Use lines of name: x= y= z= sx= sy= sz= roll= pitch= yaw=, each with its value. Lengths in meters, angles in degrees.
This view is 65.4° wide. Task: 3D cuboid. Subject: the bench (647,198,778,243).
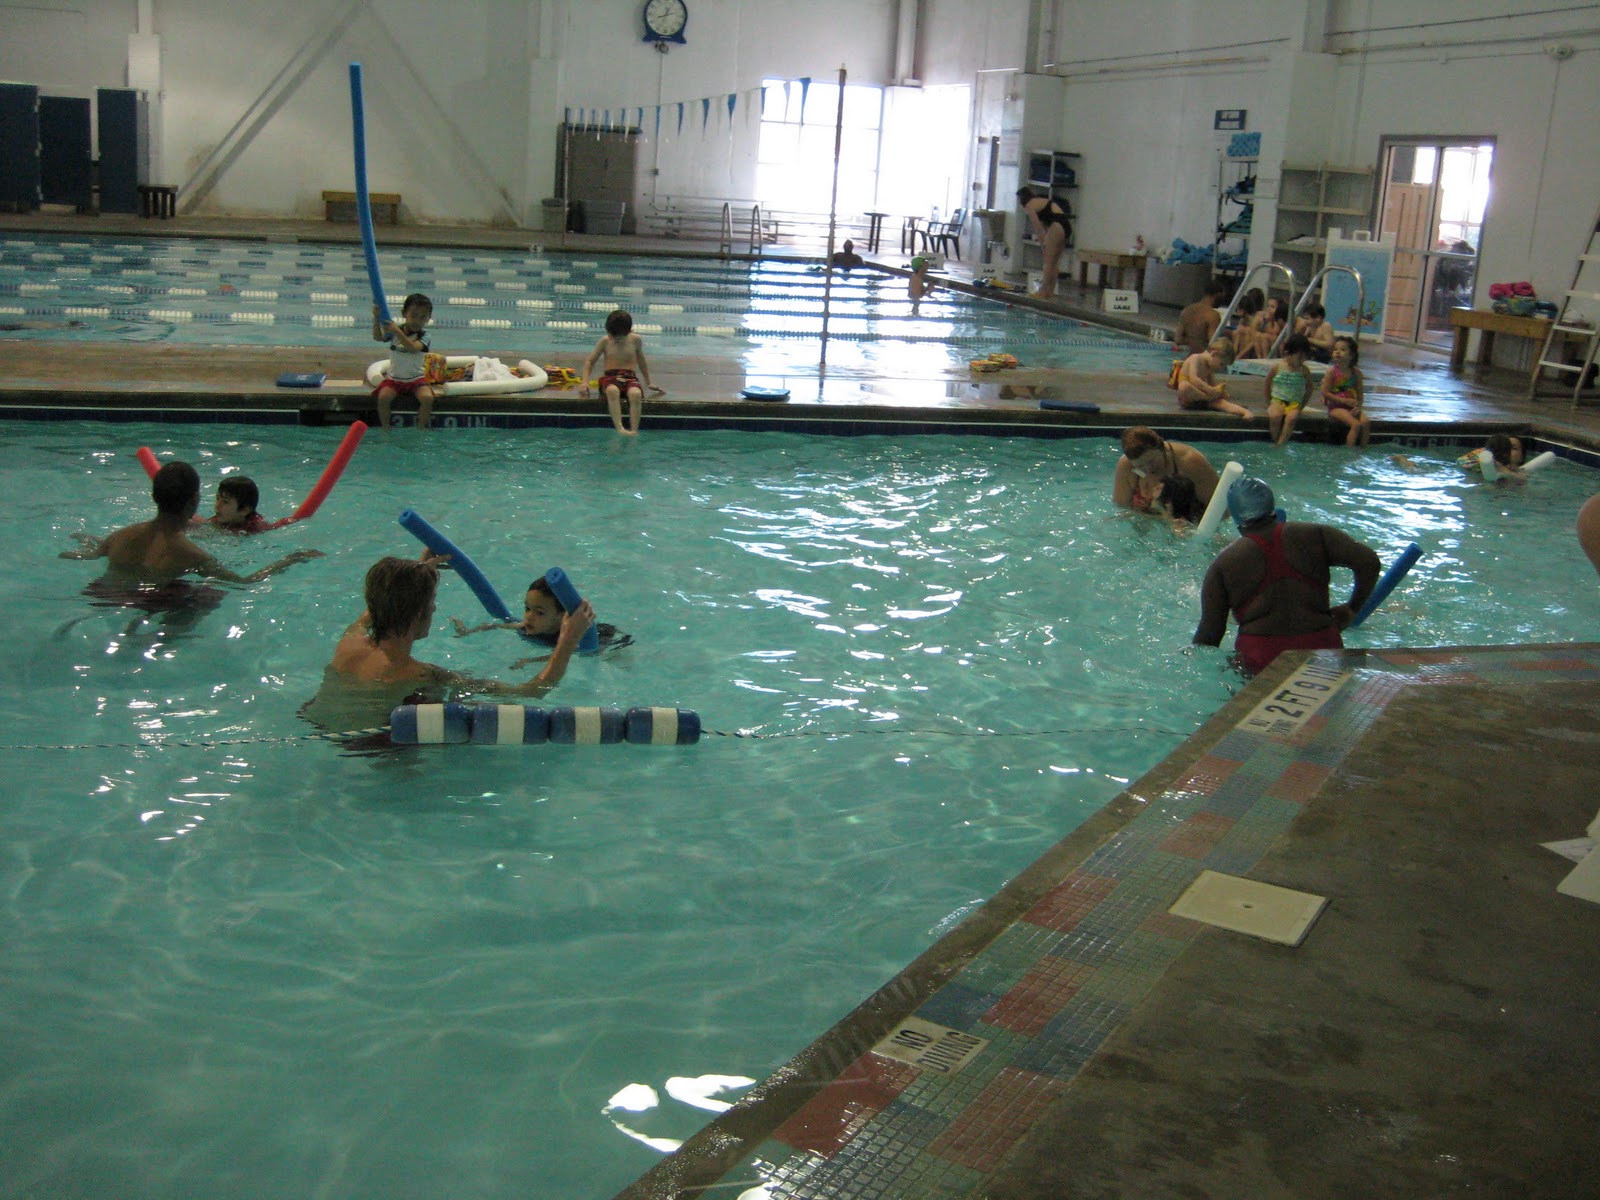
bench: x=-1.576 y=-7.876 z=25.884 sx=3.060 sy=0.909 sz=1.433 roll=-8 pitch=17 yaw=-31

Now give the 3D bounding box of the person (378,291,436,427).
person: x=-2.967 y=-1.785 z=9.296 sx=0.446 sy=0.969 sz=0.746 roll=-5 pitch=17 yaw=-17

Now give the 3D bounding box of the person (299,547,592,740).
person: x=-1.529 y=0.262 z=5.092 sx=1.191 sy=0.797 sz=0.665 roll=18 pitch=21 yaw=23

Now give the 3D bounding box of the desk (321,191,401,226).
desk: x=-8.320 y=-7.467 z=23.780 sx=1.479 sy=0.692 sz=1.092 roll=-4 pitch=16 yaw=-18

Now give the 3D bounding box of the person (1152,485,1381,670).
person: x=2.180 y=-0.078 z=5.561 sx=0.774 sy=0.899 sz=0.444 roll=1 pitch=17 yaw=4

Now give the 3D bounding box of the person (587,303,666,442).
person: x=-1.397 y=-1.806 z=9.885 sx=0.543 sy=0.923 sz=0.870 roll=-2 pitch=16 yaw=-6

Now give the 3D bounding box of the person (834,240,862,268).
person: x=0.919 y=-6.784 z=24.582 sx=0.496 sy=0.522 sz=1.079 roll=2 pitch=14 yaw=5

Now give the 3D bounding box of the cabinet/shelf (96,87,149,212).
cabinet/shelf: x=-11.534 y=-7.669 z=21.275 sx=0.937 sy=1.976 sz=1.451 roll=-8 pitch=18 yaw=-25

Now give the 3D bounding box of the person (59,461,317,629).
person: x=-3.033 y=-0.281 z=6.005 sx=1.425 sy=0.557 sz=0.670 roll=7 pitch=22 yaw=5

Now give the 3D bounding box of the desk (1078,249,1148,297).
desk: x=5.338 y=-5.748 z=21.714 sx=0.709 sy=0.664 sz=2.539 roll=-1 pitch=14 yaw=-5

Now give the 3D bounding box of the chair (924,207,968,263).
chair: x=3.050 y=-7.699 z=26.290 sx=0.740 sy=1.018 sz=0.819 roll=2 pitch=16 yaw=5
